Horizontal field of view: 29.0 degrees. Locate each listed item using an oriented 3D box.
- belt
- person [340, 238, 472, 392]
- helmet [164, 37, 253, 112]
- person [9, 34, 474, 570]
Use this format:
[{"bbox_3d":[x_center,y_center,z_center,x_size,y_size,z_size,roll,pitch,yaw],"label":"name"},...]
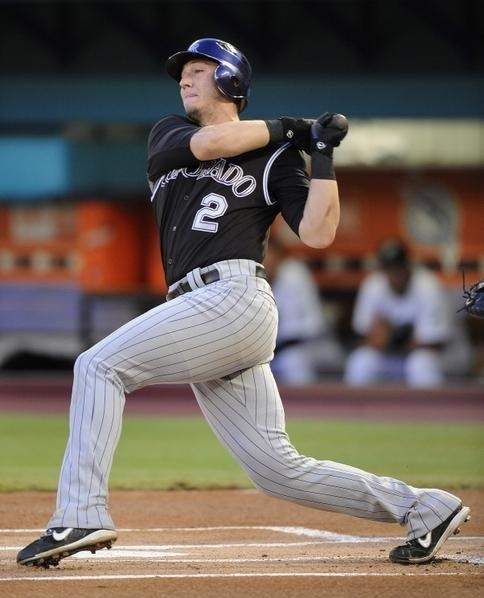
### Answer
[{"bbox_3d":[-0.091,-0.056,2.852,0.318,0.123,0.166,0,2,8],"label":"belt"},{"bbox_3d":[1.489,0.158,8.863,1.300,1.235,1.037,-13,18,19],"label":"person"},{"bbox_3d":[-0.103,-0.746,3.072,0.294,0.174,0.232,8,-11,14],"label":"helmet"},{"bbox_3d":[-0.060,-0.016,2.872,1.283,1.663,0.483,0,3,-18],"label":"person"}]
